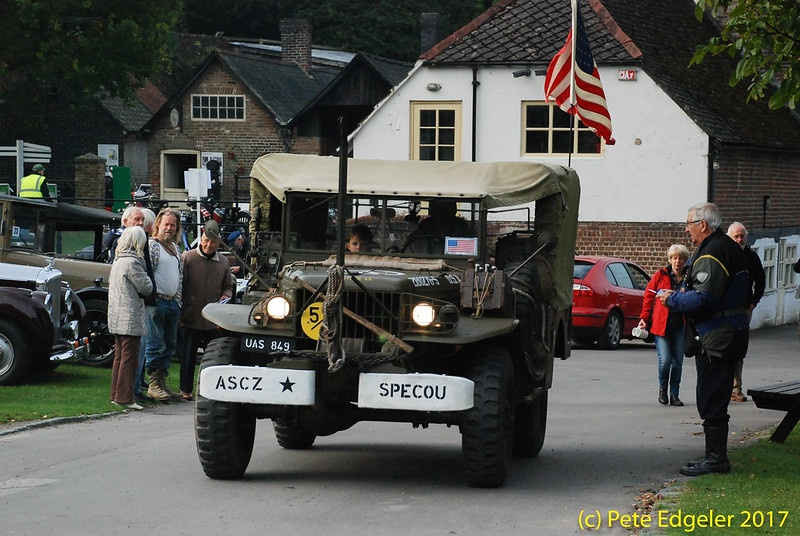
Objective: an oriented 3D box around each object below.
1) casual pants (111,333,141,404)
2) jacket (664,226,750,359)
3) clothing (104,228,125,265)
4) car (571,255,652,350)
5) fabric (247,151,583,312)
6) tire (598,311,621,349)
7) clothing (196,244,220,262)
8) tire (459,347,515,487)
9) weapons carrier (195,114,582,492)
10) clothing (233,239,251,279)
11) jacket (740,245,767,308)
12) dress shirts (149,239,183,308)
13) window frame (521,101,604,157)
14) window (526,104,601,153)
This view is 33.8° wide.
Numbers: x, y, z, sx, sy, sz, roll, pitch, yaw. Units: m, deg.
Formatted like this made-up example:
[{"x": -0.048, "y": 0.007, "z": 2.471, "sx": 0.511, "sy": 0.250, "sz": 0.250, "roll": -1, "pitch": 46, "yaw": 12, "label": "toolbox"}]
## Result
[{"x": -4.079, "y": 1.529, "z": 19.541, "sx": 0.455, "sy": 1.084, "sz": 0.350, "roll": 0, "pitch": 7, "yaw": -7, "label": "casual pants"}, {"x": 3.975, "y": 0.349, "z": 16.863, "sx": 0.881, "sy": 1.597, "sz": 1.277, "roll": -3, "pitch": 5, "yaw": 26, "label": "jacket"}, {"x": -4.898, "y": -0.331, "z": 22.536, "sx": 0.461, "sy": 0.643, "sz": 0.269, "roll": 3, "pitch": -1, "yaw": 14, "label": "clothing"}, {"x": 4.130, "y": 0.705, "z": 27.787, "sx": 1.249, "sy": 1.212, "sz": 2.793, "roll": 2, "pitch": 7, "yaw": 39, "label": "car"}, {"x": 0.111, "y": -0.517, "z": 17.722, "sx": 4.213, "sy": 2.005, "sz": 1.276, "roll": 2, "pitch": 17, "yaw": 5, "label": "fabric"}, {"x": 4.293, "y": 1.305, "z": 27.256, "sx": 0.225, "sy": 0.727, "sz": 0.717, "roll": -1, "pitch": 8, "yaw": 33, "label": "tire"}, {"x": -2.970, "y": -0.183, "z": 20.415, "sx": 0.212, "sy": 0.168, "sz": 0.279, "roll": 3, "pitch": -2, "yaw": 5, "label": "clothing"}, {"x": 1.038, "y": 1.866, "z": 15.888, "sx": 0.488, "sy": 1.668, "sz": 0.663, "roll": 3, "pitch": 7, "yaw": 18, "label": "tire"}, {"x": -0.189, "y": 0.383, "z": 16.672, "sx": 4.499, "sy": 4.480, "sz": 3.032, "roll": 1, "pitch": 7, "yaw": 2, "label": "weapons carrier"}, {"x": -2.821, "y": -0.118, "z": 23.317, "sx": 0.504, "sy": 0.699, "sz": 0.235, "roll": -4, "pitch": 9, "yaw": -27, "label": "clothing"}, {"x": 5.347, "y": 0.084, "z": 19.661, "sx": 0.337, "sy": 1.016, "sz": 0.709, "roll": -6, "pitch": -42, "yaw": 27, "label": "jacket"}, {"x": -3.545, "y": 0.097, "z": 19.856, "sx": 0.588, "sy": 1.008, "sz": 0.240, "roll": -5, "pitch": 9, "yaw": -39, "label": "dress shirts"}, {"x": 4.085, "y": -3.405, "z": 32.788, "sx": 2.054, "sy": 1.452, "sz": 0.161, "roll": 4, "pitch": 1, "yaw": 11, "label": "window frame"}, {"x": 4.220, "y": -3.561, "z": 34.304, "sx": 2.069, "sy": 1.471, "sz": 0.126, "roll": 1, "pitch": 1, "yaw": 14, "label": "window"}]
